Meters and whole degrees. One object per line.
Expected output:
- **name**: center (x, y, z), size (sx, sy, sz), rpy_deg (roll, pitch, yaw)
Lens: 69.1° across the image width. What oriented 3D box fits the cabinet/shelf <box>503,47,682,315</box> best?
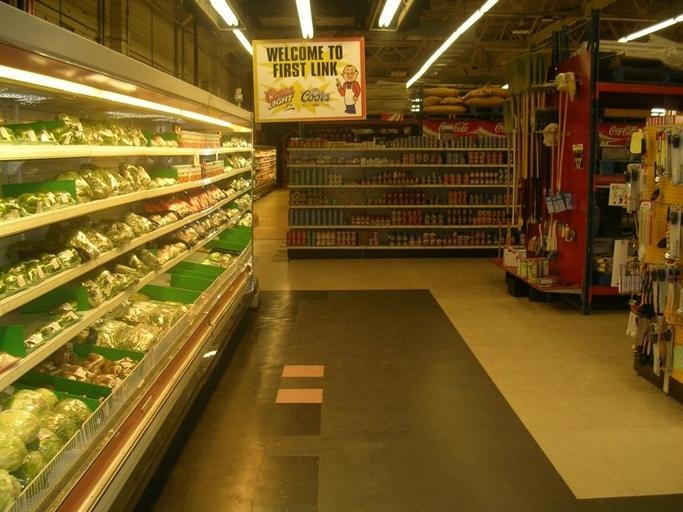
- **cabinet/shelf**: center (2.890, -1.038, 6.403), size (1.514, 3.203, 1.505), rpy_deg (3, 14, 15)
